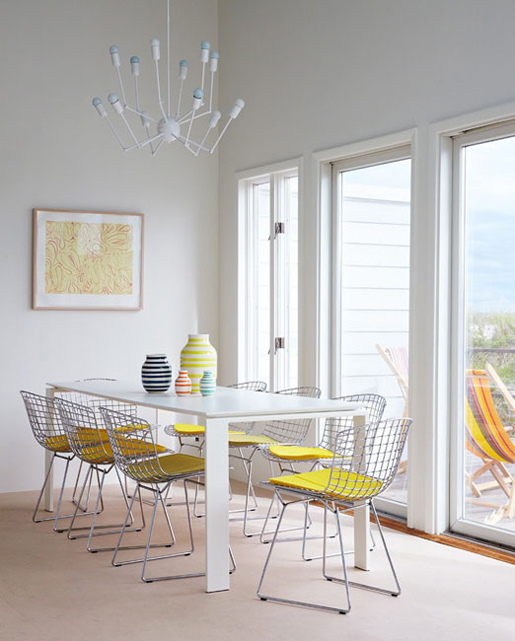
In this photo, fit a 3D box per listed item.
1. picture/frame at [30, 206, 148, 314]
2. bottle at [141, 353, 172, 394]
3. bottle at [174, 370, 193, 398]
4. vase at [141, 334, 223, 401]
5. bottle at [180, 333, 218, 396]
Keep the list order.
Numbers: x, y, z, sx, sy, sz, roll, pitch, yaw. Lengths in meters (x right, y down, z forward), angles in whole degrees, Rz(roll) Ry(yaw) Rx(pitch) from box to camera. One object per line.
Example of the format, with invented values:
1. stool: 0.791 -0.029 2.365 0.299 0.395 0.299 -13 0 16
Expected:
1. picture/frame: -1.387 -0.479 4.620 0.924 0.786 0.105 0 -2 -29
2. bottle: -0.544 0.287 3.226 0.199 0.243 0.196 0 -8 3
3. bottle: -0.383 0.344 3.095 0.114 0.167 0.117 0 -7 0
4. vase: -0.426 0.280 3.473 0.344 0.558 0.360 1 -3 3
5. bottle: -0.337 0.235 3.330 0.211 0.304 0.189 -1 5 1
